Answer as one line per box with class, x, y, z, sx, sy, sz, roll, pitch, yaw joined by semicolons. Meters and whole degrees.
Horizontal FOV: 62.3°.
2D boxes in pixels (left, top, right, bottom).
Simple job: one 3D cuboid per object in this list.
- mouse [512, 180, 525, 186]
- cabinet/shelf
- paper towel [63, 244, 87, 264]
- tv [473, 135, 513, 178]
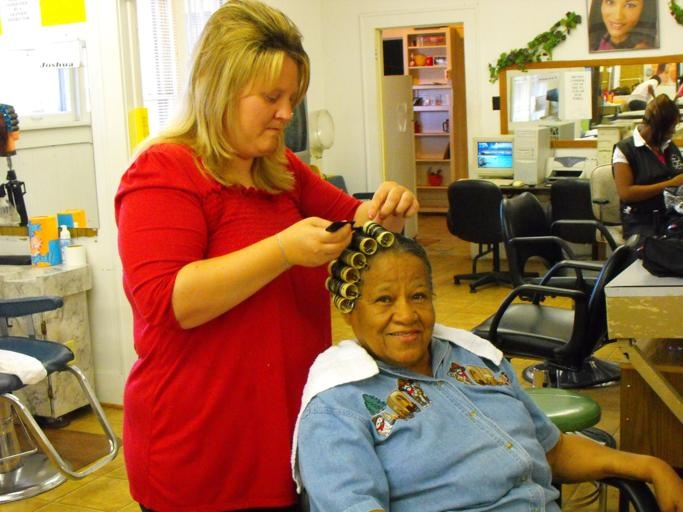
mouse;1.909;-0.790;6.102;0.099;0.030;0.099;6;13;31
cabinet/shelf;1.532;-2.627;9.811;0.838;2.728;0.487;-2;6;15
paper towel;-1.642;-0.017;3.465;0.128;0.104;0.122;1;5;-6
tv;1.731;-1.131;6.558;0.511;0.453;0.284;-2;4;-4
